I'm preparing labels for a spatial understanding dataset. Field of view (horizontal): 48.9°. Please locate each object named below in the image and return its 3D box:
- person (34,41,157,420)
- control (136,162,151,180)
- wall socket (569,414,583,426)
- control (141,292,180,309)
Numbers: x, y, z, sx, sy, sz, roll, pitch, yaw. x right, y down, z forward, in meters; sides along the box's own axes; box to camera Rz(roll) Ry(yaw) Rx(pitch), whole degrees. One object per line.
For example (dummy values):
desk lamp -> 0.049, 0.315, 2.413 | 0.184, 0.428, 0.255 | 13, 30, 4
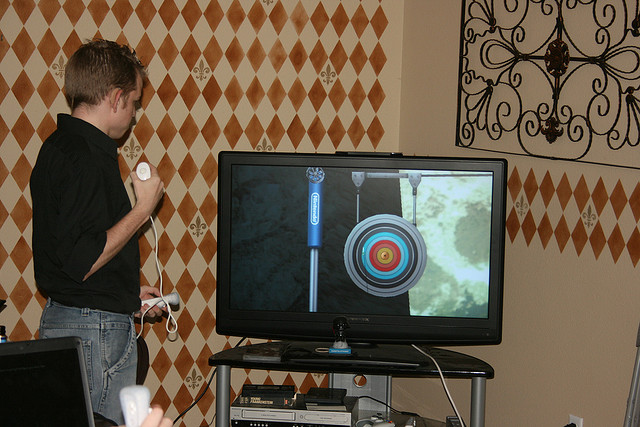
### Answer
person -> -1.099, 0.078, 3.410 | 0.569, 1.820, 0.316 | 4, -4, -24
control -> -0.870, -0.200, 3.451 | 0.057, 0.089, 0.021 | 3, -3, -1
wall socket -> 1.272, 1.024, 3.475 | 0.049, 0.057, 0.005 | -1, -7, 31
control -> -0.905, 0.492, 3.946 | 0.183, 0.055, 0.053 | -18, -32, -5
